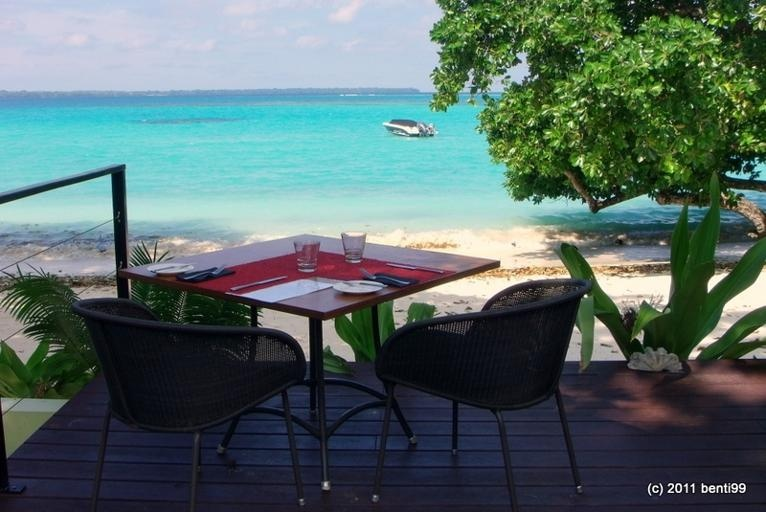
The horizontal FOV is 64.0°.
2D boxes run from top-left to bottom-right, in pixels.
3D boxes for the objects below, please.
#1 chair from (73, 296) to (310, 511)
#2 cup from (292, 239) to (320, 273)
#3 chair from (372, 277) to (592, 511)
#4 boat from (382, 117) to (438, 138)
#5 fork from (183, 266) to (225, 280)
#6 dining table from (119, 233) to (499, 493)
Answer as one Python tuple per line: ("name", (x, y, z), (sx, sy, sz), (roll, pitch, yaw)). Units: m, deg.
("chair", (-0.810, 0.665, 2.577), (0.876, 0.799, 0.739), (8, 18, 28))
("cup", (-0.364, 0.005, 2.933), (0.179, 0.130, 0.144), (4, 12, 19))
("chair", (0.413, 0.455, 3.001), (1.117, 1.090, 1.079), (6, 7, 32))
("boat", (1.176, -6.781, 32.708), (1.481, 0.678, 3.115), (-8, 15, -36))
("fork", (-0.824, 0.079, 2.817), (0.202, 0.021, 0.095), (-15, 24, -30))
("dining table", (-0.411, 0.502, 3.122), (1.572, 0.770, 1.480), (6, 11, 36))
